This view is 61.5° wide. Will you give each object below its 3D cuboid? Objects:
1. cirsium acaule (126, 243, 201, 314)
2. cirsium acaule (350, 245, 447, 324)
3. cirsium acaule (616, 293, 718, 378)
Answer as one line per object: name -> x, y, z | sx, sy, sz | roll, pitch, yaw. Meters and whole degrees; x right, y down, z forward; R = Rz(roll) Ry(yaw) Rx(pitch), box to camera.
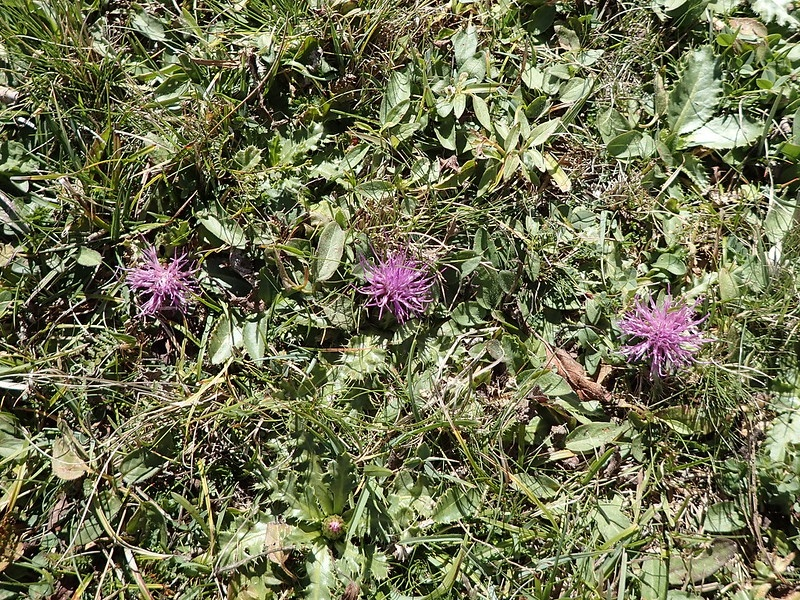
cirsium acaule -> -0.630, -0.049, 1.796 | 0.165, 0.077, 0.195 | 18, 88, 1
cirsium acaule -> 0.011, -0.068, 1.784 | 0.219, 0.242, 0.150 | 8, 93, -10
cirsium acaule -> 0.680, 0.061, 1.746 | 0.192, 0.197, 0.108 | 2, 108, 42
